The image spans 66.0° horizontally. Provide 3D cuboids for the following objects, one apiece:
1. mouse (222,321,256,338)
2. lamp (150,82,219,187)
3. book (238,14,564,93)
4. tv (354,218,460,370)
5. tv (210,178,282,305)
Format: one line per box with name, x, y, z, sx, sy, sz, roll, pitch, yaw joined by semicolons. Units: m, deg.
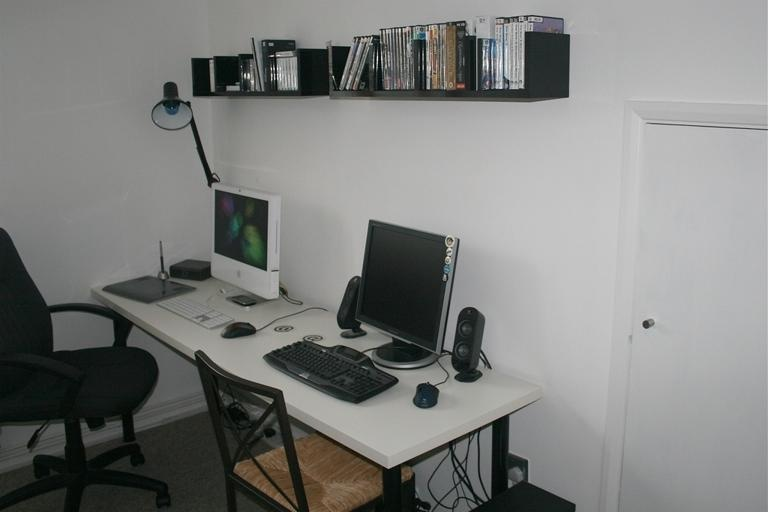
mouse;-0.759;0.386;3.077;0.135;0.050;0.081;-8;16;-39
lamp;-1.258;-0.731;3.744;0.363;0.704;0.566;-4;18;-17
book;0.251;-0.864;2.626;1.109;0.344;0.266;13;21;31
tv;0.123;0.192;2.798;0.315;0.584;0.557;-11;18;-43
tv;-0.805;-0.064;3.456;0.646;0.610;0.232;13;12;41
